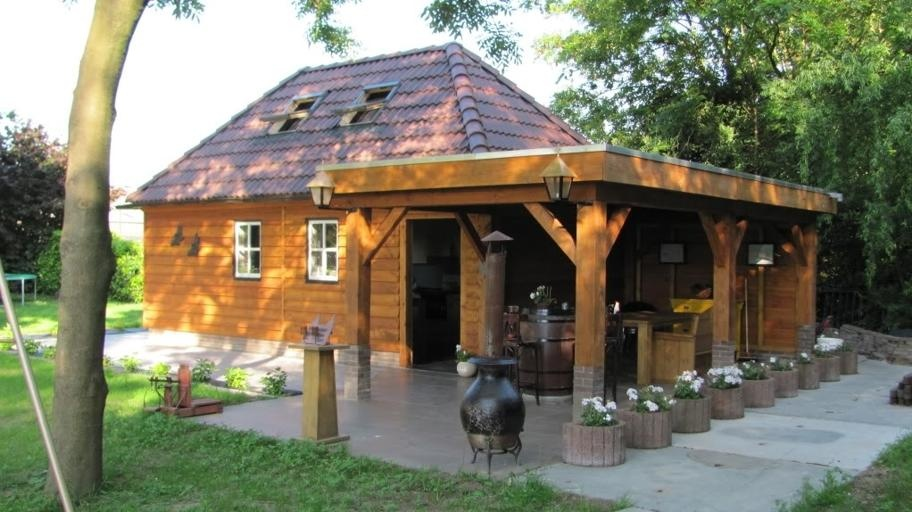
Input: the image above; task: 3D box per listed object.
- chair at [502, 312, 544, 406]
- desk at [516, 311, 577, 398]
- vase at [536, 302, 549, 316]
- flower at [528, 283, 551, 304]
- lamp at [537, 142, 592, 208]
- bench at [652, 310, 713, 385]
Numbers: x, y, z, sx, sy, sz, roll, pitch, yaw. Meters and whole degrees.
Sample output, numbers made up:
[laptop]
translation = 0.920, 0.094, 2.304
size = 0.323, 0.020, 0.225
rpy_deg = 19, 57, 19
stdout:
[chair]
translation = 1.723, 2.408, 17.311
size = 0.733, 1.842, 0.708
rpy_deg = 1, -1, 12
[desk]
translation = 2.141, 2.294, 17.246
size = 1.675, 2.059, 1.137
rpy_deg = -1, -2, 41
[vase]
translation = 2.041, 1.269, 17.122
size = 0.282, 0.258, 0.273
rpy_deg = 6, -7, -34
[flower]
translation = 2.137, 1.016, 17.944
size = 0.656, 0.460, 0.665
rpy_deg = 6, -6, -43
[lamp]
translation = 2.086, -1.620, 14.492
size = 0.673, 1.081, 0.627
rpy_deg = 3, 10, 16
[bench]
translation = 5.887, 2.445, 19.073
size = 1.835, 1.683, 1.056
rpy_deg = 1, -1, -1
